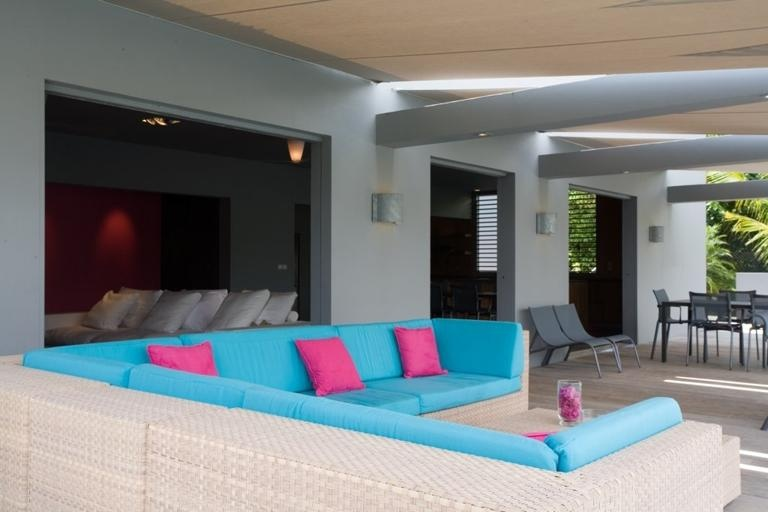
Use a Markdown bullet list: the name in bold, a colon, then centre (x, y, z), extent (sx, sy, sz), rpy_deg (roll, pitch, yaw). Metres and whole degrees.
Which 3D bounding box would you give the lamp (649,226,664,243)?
- **lamp**: centre (5.870, -0.453, 11.388), extent (0.414, 0.358, 0.184), rpy_deg (0, 2, -43)

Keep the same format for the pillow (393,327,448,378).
- **pillow**: centre (0.334, 0.918, 5.016), extent (0.480, 0.449, 0.144), rpy_deg (-1, -22, -37)

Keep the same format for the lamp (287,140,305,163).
- **lamp**: centre (-1.009, -1.208, 6.071), extent (0.179, 0.165, 0.267), rpy_deg (-13, -31, -11)

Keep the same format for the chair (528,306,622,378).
- **chair**: centre (2.958, 1.282, 8.269), extent (1.267, 0.787, 1.102), rpy_deg (-3, -5, 43)

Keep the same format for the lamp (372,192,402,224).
- **lamp**: centre (0.028, -0.507, 6.445), extent (0.460, 0.413, 0.323), rpy_deg (2, -3, -33)

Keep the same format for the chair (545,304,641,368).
- **chair**: centre (3.290, 1.294, 8.650), extent (1.606, 1.135, 0.939), rpy_deg (-2, -3, 41)

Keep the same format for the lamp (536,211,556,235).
- **lamp**: centre (2.634, -0.524, 8.638), extent (0.136, 0.380, 0.417), rpy_deg (-1, -2, 44)
